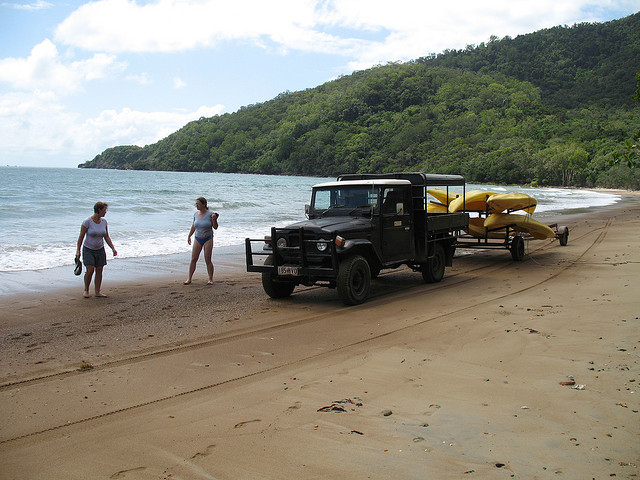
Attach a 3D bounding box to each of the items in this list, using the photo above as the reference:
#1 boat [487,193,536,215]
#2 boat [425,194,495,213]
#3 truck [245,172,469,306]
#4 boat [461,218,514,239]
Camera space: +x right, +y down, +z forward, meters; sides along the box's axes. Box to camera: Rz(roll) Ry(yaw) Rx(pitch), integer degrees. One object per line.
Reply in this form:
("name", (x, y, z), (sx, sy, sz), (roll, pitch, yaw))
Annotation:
("boat", (5.564, -1.042, 14.790), (1.256, 0.399, 0.697), (5, 1, -44))
("boat", (3.927, -0.951, 14.365), (1.780, 0.336, 0.974), (-1, 2, -9))
("truck", (1.098, -0.122, 11.686), (2.282, 2.130, 5.275), (-1, 1, 39))
("boat", (4.831, -0.259, 14.754), (1.140, 0.300, 0.803), (12, 10, 29))
